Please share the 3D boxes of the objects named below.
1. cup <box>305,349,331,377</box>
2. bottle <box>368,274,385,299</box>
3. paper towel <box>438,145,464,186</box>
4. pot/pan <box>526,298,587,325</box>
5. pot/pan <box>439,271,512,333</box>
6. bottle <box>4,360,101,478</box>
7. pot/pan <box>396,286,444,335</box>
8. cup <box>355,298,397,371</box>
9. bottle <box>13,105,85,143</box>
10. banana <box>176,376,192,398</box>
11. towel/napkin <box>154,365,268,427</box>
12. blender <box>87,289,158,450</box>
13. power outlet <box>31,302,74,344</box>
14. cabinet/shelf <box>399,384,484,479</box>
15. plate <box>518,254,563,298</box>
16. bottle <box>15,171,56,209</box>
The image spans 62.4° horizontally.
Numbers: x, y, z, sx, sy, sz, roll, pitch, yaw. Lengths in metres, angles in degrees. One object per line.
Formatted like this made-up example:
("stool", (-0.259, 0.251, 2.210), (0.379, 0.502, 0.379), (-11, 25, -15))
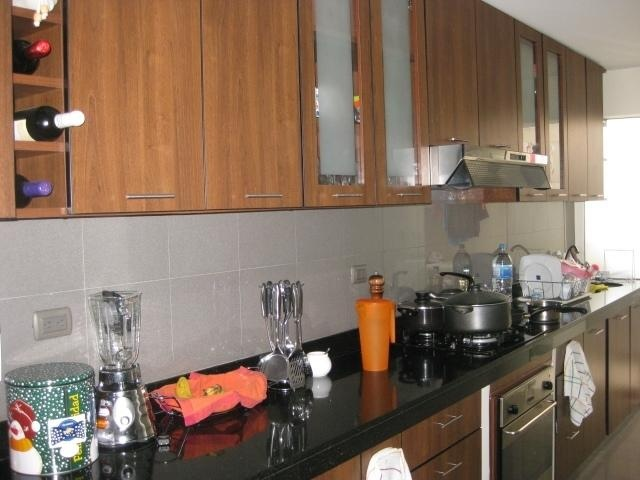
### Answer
("cup", (-0.011, 0.514, 2.217), (0.085, 0.089, 0.118), (-6, -2, -9))
("bottle", (0.247, 0.209, 2.366), (0.085, 0.138, 0.090), (-1, 0, 0))
("paper towel", (0.648, -0.371, 2.612), (0.142, 0.200, 0.121), (6, 4, 10))
("pot/pan", (1.322, 0.404, 2.973), (0.175, 0.120, 0.304), (-3, 5, -43))
("pot/pan", (0.758, 0.319, 2.592), (0.218, 0.202, 0.288), (1, -6, -36))
("bottle", (-0.790, 0.504, 1.633), (0.253, 0.309, 0.263), (-1, 4, -18))
("pot/pan", (0.523, 0.377, 2.678), (0.212, 0.196, 0.361), (-6, -7, 28))
("cup", (0.253, 0.409, 2.340), (0.170, 0.320, 0.157), (-5, 5, 0))
("bottle", (-0.718, -0.315, 1.400), (0.224, 0.075, 0.130), (-6, 5, -1))
("banana", (-0.480, 0.525, 1.863), (0.041, 0.081, 0.018), (1, -25, -36))
("towel/napkin", (-0.370, 0.542, 1.862), (0.237, 0.060, 0.194), (-1, 3, -41))
("blender", (-0.655, 0.400, 1.723), (0.170, 0.327, 0.249), (-7, 5, -20))
("power outlet", (-0.884, 0.269, 1.722), (0.051, 0.126, 0.134), (-5, -4, 38))
("cabinet/shelf", (0.476, 0.751, 2.086), (0.348, 0.186, 0.195), (-9, 5, -43))
("plate", (1.489, 0.244, 3.548), (0.257, 0.308, 0.104), (-1, 4, 41))
("bottle", (-0.764, -0.135, 1.395), (0.083, 0.070, 0.183), (-8, 6, -30))
